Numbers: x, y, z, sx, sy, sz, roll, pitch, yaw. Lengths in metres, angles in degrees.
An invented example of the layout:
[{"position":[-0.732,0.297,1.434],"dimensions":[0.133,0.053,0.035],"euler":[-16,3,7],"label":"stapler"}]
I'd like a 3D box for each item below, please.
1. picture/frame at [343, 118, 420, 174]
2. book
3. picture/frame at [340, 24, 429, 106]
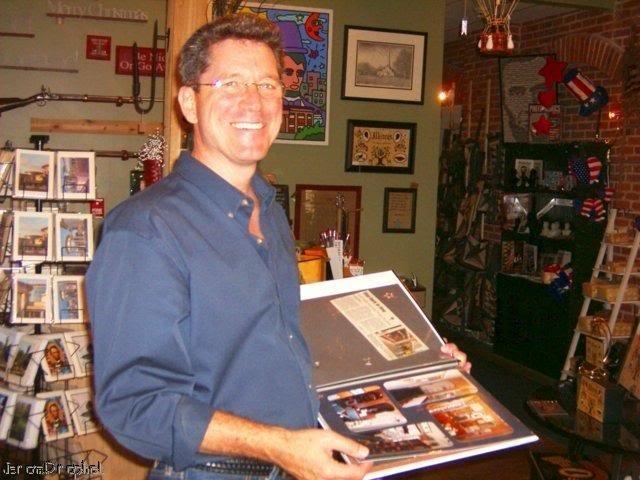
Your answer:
[{"position":[0.535,-0.877,4.990],"dimensions":[0.545,0.379,0.027],"euler":[2,7,-14],"label":"picture/frame"},{"position":[0.222,0.417,1.635],"dimensions":[0.585,0.155,0.775],"euler":[-12,41,-27],"label":"book"},{"position":[0.552,-1.611,4.893],"dimensions":[0.766,0.630,0.029],"euler":[5,10,-15],"label":"picture/frame"}]
